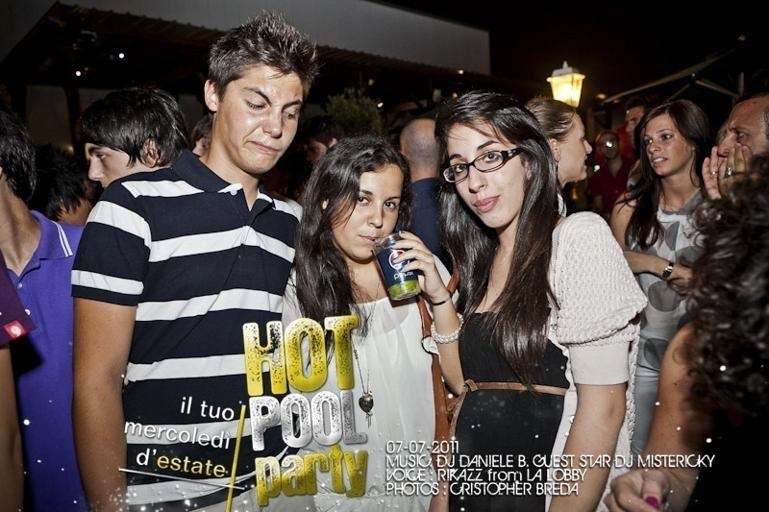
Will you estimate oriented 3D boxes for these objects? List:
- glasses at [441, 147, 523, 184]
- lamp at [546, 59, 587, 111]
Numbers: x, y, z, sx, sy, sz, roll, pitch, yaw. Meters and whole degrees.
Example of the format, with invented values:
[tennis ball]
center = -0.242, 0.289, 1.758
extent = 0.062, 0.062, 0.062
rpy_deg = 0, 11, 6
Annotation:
[glasses]
center = 0.552, -0.506, 3.043
extent = 0.379, 0.178, 0.085
rpy_deg = -1, -7, 19
[lamp]
center = 2.468, -2.267, 7.335
extent = 0.437, 0.528, 0.436
rpy_deg = -1, 26, 2
